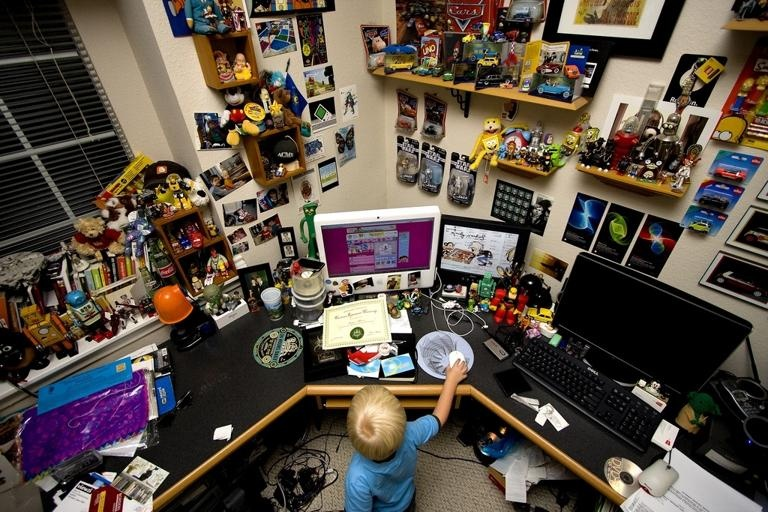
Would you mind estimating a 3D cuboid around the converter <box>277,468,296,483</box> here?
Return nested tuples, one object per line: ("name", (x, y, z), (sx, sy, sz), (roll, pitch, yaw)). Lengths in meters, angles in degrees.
("converter", (-0.615, 1.407, 2.912), (0.076, 0.021, 0.074), (9, 43, 11))

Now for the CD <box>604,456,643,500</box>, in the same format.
("CD", (1.142, 1.059, 2.196), (0.159, 0.058, 0.175), (24, 39, 32))

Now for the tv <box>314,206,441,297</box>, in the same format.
("tv", (-0.039, -0.024, 2.669), (0.524, 0.399, 0.175), (-2, 36, -1))

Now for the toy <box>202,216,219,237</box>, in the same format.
("toy", (-1.001, -0.168, 2.659), (0.057, 0.106, 0.067), (-3, 43, 23))

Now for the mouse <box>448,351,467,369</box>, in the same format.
("mouse", (0.412, 0.563, 2.505), (0.059, 0.096, 0.089), (5, -3, 9))

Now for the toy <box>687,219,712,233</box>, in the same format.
("toy", (1.587, -0.147, 2.296), (0.082, 0.042, 0.052), (25, 49, 31))

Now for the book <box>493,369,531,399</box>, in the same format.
("book", (0.702, 0.686, 2.474), (0.133, 0.029, 0.128), (-13, 53, -18))

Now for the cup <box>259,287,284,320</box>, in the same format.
("cup", (-0.674, 0.292, 2.770), (0.119, 0.162, 0.116), (-3, 41, 3))

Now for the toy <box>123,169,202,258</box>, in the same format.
("toy", (-1.195, -0.233, 2.502), (0.373, 0.200, 0.520), (5, 69, -17))

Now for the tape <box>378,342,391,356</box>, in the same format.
("tape", (0.007, 0.530, 2.603), (0.061, 0.023, 0.063), (6, 45, -4))

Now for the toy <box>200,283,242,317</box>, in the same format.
("toy", (-0.966, 0.267, 2.704), (0.147, 0.220, 0.121), (-5, 53, 1))

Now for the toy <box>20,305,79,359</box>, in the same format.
("toy", (-1.772, 0.409, 2.473), (0.168, 0.305, 0.143), (-28, 11, -19))

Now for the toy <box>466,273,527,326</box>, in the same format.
("toy", (0.703, 0.271, 2.826), (0.256, 0.143, 0.354), (28, 16, 6))

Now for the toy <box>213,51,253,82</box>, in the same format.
("toy", (-0.771, -0.976, 2.356), (0.195, 0.179, 0.049), (-11, 7, -23))

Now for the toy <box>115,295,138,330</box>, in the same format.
("toy", (-1.431, 0.323, 2.553), (0.122, 0.175, 0.061), (8, -8, -35))

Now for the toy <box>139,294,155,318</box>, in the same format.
("toy", (-1.365, 0.294, 2.652), (0.084, 0.121, 0.044), (-8, 7, -12))

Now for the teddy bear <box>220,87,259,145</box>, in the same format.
("teddy bear", (-0.778, -0.766, 2.470), (0.204, 0.228, 0.127), (-29, 55, -28))

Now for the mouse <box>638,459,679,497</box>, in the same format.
("mouse", (1.283, 1.041, 2.136), (0.170, 0.051, 0.121), (-32, 51, -18))

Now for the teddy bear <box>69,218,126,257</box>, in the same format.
("teddy bear", (-1.568, -0.113, 2.534), (0.274, 0.212, 0.173), (-8, 25, -22))

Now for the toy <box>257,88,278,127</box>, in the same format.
("toy", (-0.634, -0.810, 2.493), (0.055, 0.202, 0.114), (11, 46, 19))

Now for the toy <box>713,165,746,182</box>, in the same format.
("toy", (1.645, -0.392, 2.182), (0.106, 0.047, 0.066), (23, 61, 25))

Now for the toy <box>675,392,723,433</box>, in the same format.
("toy", (1.566, 0.783, 2.261), (0.128, 0.168, 0.129), (13, 25, -42))

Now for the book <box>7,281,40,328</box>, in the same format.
("book", (-1.847, 0.256, 2.348), (0.153, 0.207, 0.110), (-17, 36, -26))

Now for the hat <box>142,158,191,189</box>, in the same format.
("hat", (-1.200, -0.458, 2.556), (0.203, 0.111, 0.151), (-15, 6, 15))

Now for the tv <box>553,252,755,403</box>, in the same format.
("tv", (1.410, 0.378, 2.329), (0.622, 0.453, 0.245), (33, 50, 19))
